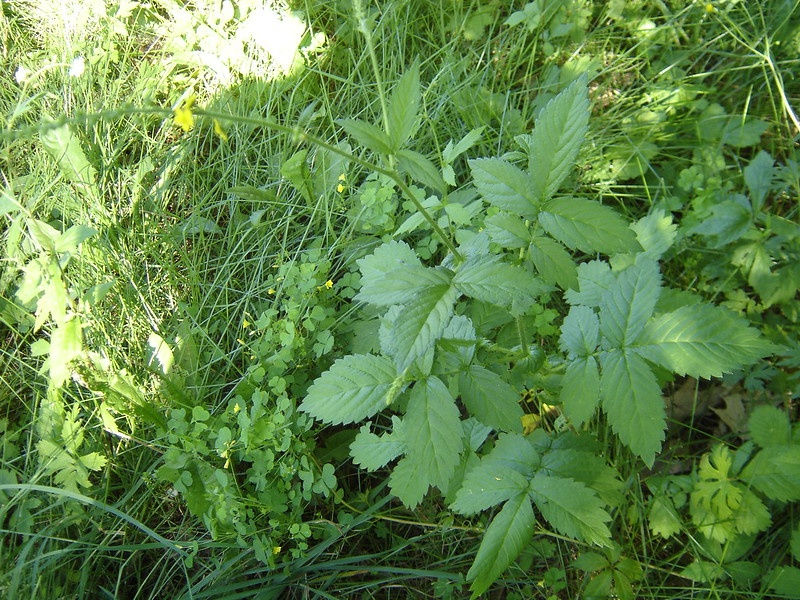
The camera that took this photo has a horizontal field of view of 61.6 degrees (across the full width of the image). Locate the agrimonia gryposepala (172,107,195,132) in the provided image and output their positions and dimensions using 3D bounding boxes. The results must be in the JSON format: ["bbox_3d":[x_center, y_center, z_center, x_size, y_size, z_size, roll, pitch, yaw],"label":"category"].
[{"bbox_3d":[-0.628,-0.532,1.964,0.057,0.064,0.063,-26,33,1],"label":"agrimonia gryposepala"}]
